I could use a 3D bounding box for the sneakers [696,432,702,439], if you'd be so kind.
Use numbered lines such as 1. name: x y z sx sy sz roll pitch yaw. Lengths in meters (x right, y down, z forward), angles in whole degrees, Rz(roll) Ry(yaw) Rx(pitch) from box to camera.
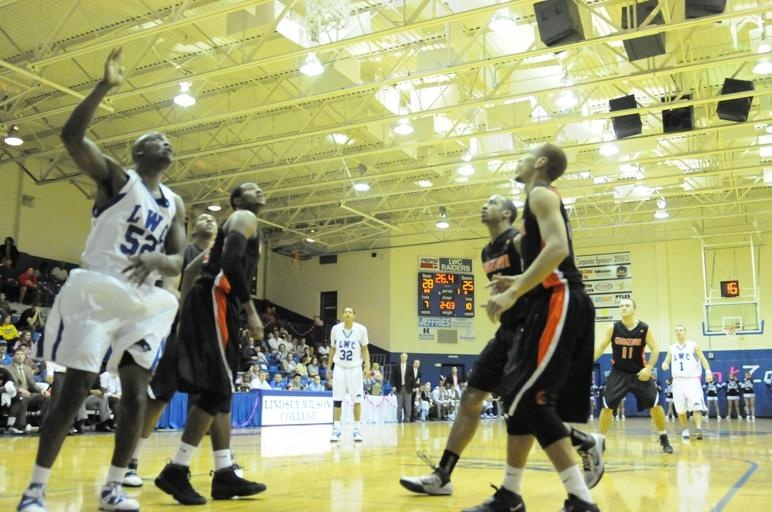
1. sneakers: 5.560 3.211 11.318 0.088 0.103 0.233 -3 -29 13

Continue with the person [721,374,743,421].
1. person: 12.534 5.067 23.062 0.536 1.656 1.338 -5 -16 27

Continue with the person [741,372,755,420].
1. person: 12.936 4.999 22.815 0.411 1.721 1.331 -6 -16 29

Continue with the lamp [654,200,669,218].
1. lamp: 10.287 -1.753 23.832 0.615 0.610 0.581 4 -18 0

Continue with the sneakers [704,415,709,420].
1. sneakers: 11.427 5.831 22.811 0.156 0.178 0.460 -11 -30 21

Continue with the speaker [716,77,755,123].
1. speaker: 7.750 -3.541 14.213 0.716 0.849 1.097 -5 -16 26

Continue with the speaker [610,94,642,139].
1. speaker: 5.646 -3.291 15.036 1.009 0.963 0.264 -7 7 8

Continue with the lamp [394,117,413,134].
1. lamp: 0.455 -3.303 16.305 0.390 0.342 0.374 7 -13 -26

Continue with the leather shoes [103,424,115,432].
1. leather shoes: -5.482 3.429 12.654 0.223 0.051 0.152 7 -5 -41
